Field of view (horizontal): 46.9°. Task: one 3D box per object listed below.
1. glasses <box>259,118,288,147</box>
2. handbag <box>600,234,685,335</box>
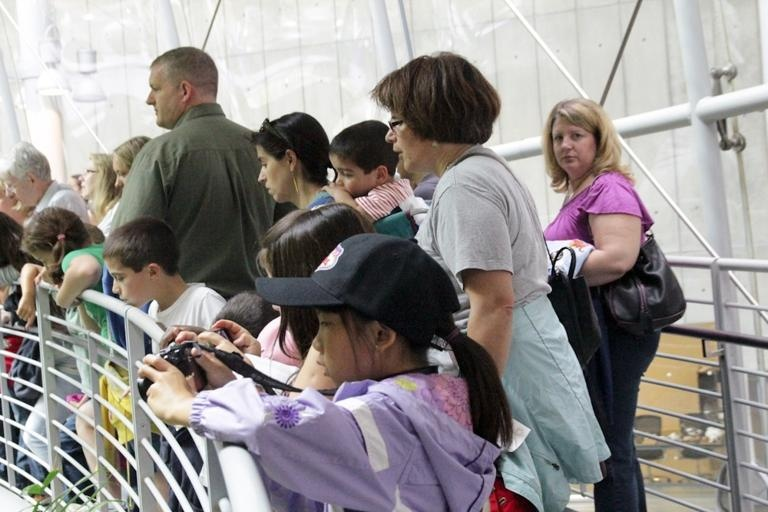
[{"bbox_3d":[-0.615,-0.705,5.024,0.146,0.047,0.142,36,4,-14],"label":"glasses"},{"bbox_3d":[1.519,0.171,5.001,0.283,0.543,0.562,-6,0,33],"label":"handbag"}]
